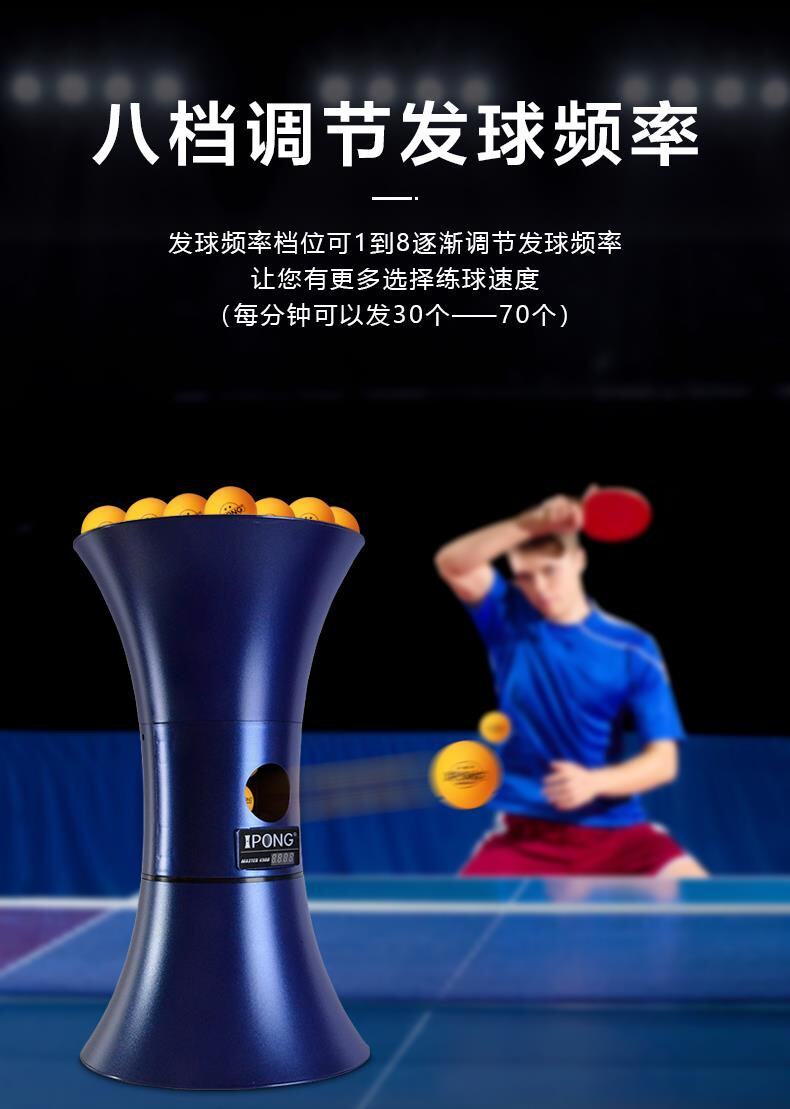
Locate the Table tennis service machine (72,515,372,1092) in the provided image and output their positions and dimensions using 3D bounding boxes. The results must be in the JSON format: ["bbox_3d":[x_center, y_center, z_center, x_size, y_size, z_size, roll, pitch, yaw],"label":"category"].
[{"bbox_3d":[-0.230,0.303,1.405,0.383,0.695,0.208,2,-10,-2],"label":"Table tennis service machine"}]

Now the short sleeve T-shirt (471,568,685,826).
[{"bbox_3d":[0.477,0.409,2.828,0.631,0.490,0.233,-7,-8,42],"label":"short sleeve T-shirt"}]

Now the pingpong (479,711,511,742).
[{"bbox_3d":[0.242,0.427,2.754,0.084,0.068,0.069,0,-11,-2],"label":"pingpong"}]
